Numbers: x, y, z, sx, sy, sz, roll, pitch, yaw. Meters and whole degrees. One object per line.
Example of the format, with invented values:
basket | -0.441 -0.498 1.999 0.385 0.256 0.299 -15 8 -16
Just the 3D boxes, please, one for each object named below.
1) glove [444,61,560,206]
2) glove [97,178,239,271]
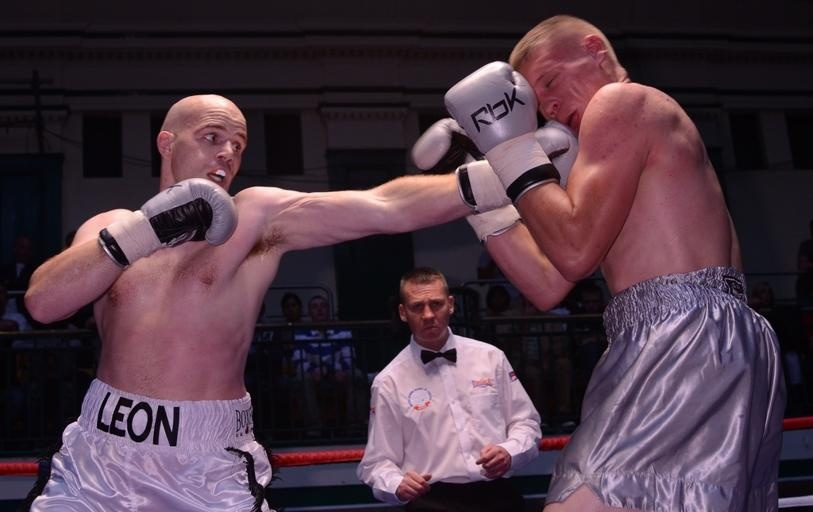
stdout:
glove | 0.748 -1.022 8.528 0.774 1.167 0.455 -35 -2 -7
glove | -1.846 -0.238 8.238 0.942 0.683 0.383 -33 -12 -5
